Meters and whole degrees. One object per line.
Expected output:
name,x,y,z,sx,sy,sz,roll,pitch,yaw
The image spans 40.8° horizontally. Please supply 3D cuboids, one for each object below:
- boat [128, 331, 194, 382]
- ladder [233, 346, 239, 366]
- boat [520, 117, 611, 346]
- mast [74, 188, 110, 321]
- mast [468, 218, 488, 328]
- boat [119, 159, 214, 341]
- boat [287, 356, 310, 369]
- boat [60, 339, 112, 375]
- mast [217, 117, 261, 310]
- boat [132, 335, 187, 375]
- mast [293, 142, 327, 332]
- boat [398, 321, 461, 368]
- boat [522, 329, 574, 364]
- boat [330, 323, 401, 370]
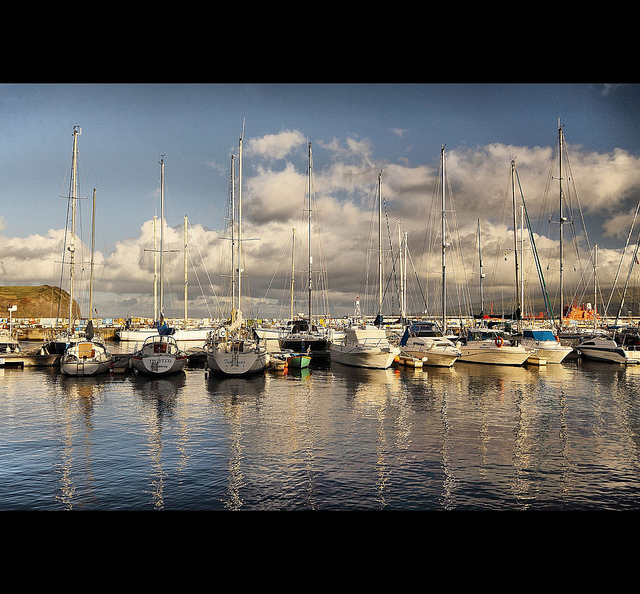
boat,-5.497,1.757,30.104,1.932,1.641,10.948,-1,2,-8
ladder,-2.529,1.767,25.947,0.175,0.542,0.569,0,2,-6
boat,10.460,-2.848,37.410,3.752,9.131,5.283,1,0,-13
mast,-6.494,-1.042,24.036,1.032,5.709,0.843,2,-2,-19
mast,6.976,-0.257,37.506,0.680,5.638,0.567,5,-2,1
boat,-8.004,-2.253,45.952,1.598,9.451,6.618,3,1,36
boat,-0.668,2.176,28.992,0.499,0.447,0.882,-1,2,-26
boat,-6.988,1.818,25.801,1.510,0.988,0.782,-2,2,-44
mast,-2.623,-2.729,28.642,1.552,10.382,1.470,1,0,-18
boat,-4.918,1.822,26.575,1.258,1.375,1.348,0,-3,-16
mast,-0.430,-2.249,31.960,0.481,7.005,0.762,3,-2,-31
boat,3.728,1.712,30.671,1.190,1.717,4.044,-2,1,-27
boat,8.294,1.714,31.167,0.758,1.170,2.763,0,-8,2
boat,1.613,1.842,29.945,0.973,1.238,3.131,1,-7,-17
